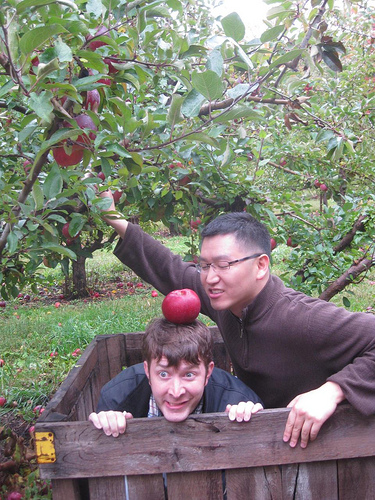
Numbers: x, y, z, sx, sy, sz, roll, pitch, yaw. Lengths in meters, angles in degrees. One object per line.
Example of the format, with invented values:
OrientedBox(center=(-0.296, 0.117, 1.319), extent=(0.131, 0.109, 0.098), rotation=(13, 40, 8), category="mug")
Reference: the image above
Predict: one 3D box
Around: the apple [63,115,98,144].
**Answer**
OrientedBox(center=(-0.300, -0.335, 1.310), extent=(0.077, 0.071, 0.085), rotation=(-7, 40, -37), category="apple")

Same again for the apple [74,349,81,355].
OrientedBox(center=(-0.870, 0.813, 3.675), extent=(0.053, 0.041, 0.044), rotation=(-20, 1, -39), category="apple")

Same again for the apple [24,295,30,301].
OrientedBox(center=(-2.363, 0.703, 6.771), extent=(0.066, 0.040, 0.073), rotation=(1, 25, 13), category="apple")

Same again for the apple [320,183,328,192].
OrientedBox(center=(1.014, -0.467, 3.438), extent=(0.060, 0.061, 0.056), rotation=(-7, 5, 5), category="apple")

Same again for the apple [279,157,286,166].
OrientedBox(center=(0.798, -0.729, 3.781), extent=(0.058, 0.063, 0.055), rotation=(6, 22, 27), category="apple")

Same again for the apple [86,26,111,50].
OrientedBox(center=(-0.236, -0.591, 1.280), extent=(0.077, 0.062, 0.056), rotation=(-15, 10, -8), category="apple")

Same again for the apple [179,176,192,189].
OrientedBox(center=(-0.006, -0.421, 2.809), extent=(0.052, 0.049, 0.038), rotation=(7, 21, -1), category="apple")

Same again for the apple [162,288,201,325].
OrientedBox(center=(-0.017, 0.174, 1.458), extent=(0.114, 0.104, 0.117), rotation=(3, 9, 44), category="apple")

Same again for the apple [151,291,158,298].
OrientedBox(center=(-0.364, 0.489, 5.088), extent=(0.055, 0.065, 0.066), rotation=(4, 16, -2), category="apple")

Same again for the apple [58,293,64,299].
OrientedBox(center=(-1.871, 0.692, 6.821), extent=(0.062, 0.059, 0.069), rotation=(-27, 35, 0), category="apple")

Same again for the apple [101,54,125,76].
OrientedBox(center=(-0.222, -0.550, 1.384), extent=(0.043, 0.043, 0.081), rotation=(-4, 7, 12), category="apple")

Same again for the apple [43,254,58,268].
OrientedBox(center=(-0.705, 0.051, 2.363), extent=(0.029, 0.074, 0.057), rotation=(0, 8, -42), category="apple")

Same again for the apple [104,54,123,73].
OrientedBox(center=(-0.220, -0.554, 1.379), extent=(0.054, 0.035, 0.061), rotation=(-6, 7, -5), category="apple")

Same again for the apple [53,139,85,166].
OrientedBox(center=(-0.354, -0.280, 1.366), extent=(0.070, 0.078, 0.065), rotation=(23, 35, -6), category="apple")
